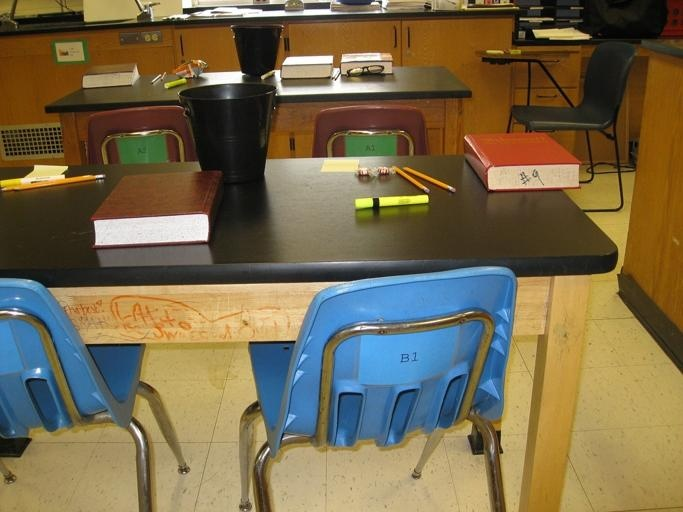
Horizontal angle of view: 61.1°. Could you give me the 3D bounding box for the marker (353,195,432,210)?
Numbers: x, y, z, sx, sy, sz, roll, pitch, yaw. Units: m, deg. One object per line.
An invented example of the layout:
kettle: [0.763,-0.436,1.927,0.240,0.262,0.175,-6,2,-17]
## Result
marker: [0.134,-0.137,1.477,0.141,0.032,0.031,-1,72,-6]

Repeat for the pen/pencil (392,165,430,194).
pen/pencil: [0.192,-0.212,1.608,0.018,0.019,0.173,28,8,-43]

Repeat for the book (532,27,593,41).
book: [1.551,-1.565,4.084,0.403,0.065,0.215,12,33,20]

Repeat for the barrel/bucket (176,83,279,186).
barrel/bucket: [-0.317,-0.350,1.669,0.273,0.247,0.287,-3,23,1]

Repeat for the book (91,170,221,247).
book: [-0.448,-0.135,1.440,0.275,0.074,0.316,-2,31,-3]

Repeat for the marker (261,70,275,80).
marker: [-0.380,-0.956,3.051,0.015,0.026,0.181,22,29,6]

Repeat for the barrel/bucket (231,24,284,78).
barrel/bucket: [-0.416,-1.041,2.954,0.262,0.241,0.271,2,22,-1]

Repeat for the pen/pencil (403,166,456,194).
pen/pencil: [0.243,-0.208,1.599,0.022,0.017,0.223,17,10,-29]

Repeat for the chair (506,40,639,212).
chair: [1.401,-0.817,3.641,0.633,0.992,0.630,-5,24,-1]

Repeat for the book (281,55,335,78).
book: [-0.175,-0.995,3.046,0.302,0.083,0.310,-1,23,0]
